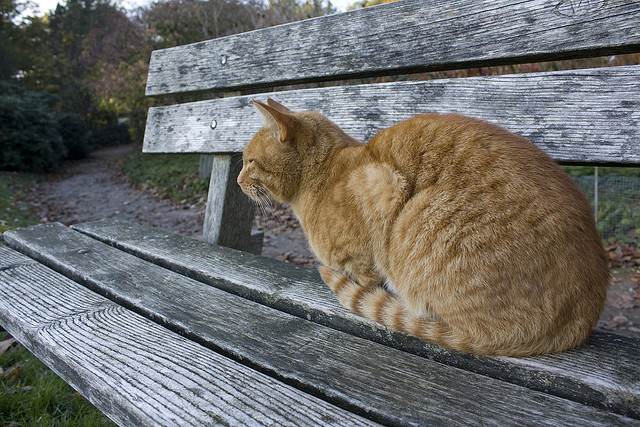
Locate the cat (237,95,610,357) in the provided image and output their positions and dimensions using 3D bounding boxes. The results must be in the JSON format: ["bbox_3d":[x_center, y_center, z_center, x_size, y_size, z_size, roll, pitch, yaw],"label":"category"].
[{"bbox_3d":[0.403,-0.025,2.546,1.861,0.946,0.988,18,30,26],"label":"cat"}]
